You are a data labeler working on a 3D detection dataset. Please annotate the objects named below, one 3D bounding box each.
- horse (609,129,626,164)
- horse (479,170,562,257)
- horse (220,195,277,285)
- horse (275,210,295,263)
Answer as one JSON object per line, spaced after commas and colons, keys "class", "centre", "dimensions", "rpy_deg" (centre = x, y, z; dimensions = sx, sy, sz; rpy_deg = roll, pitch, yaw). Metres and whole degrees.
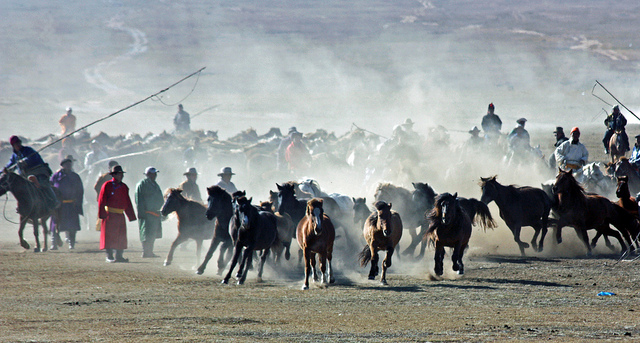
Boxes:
{"class": "horse", "centre": [20.266, -1.873, 88.822], "dimensions": [0.943, 1.989, 1.232], "rpy_deg": [-1, -5, 5]}
{"class": "horse", "centre": [12.659, 2.856, 86.630], "dimensions": [6.099, 5.316, 3.811], "rpy_deg": [2, -1, -3]}
{"class": "horse", "centre": [-4.033, 4.118, 80.251], "dimensions": [2.133, 5.297, 3.168], "rpy_deg": [-4, -6, 33]}
{"class": "horse", "centre": [-2.262, 3.855, 81.554], "dimensions": [0.643, 2.920, 1.400], "rpy_deg": [-5, -7, 37]}
